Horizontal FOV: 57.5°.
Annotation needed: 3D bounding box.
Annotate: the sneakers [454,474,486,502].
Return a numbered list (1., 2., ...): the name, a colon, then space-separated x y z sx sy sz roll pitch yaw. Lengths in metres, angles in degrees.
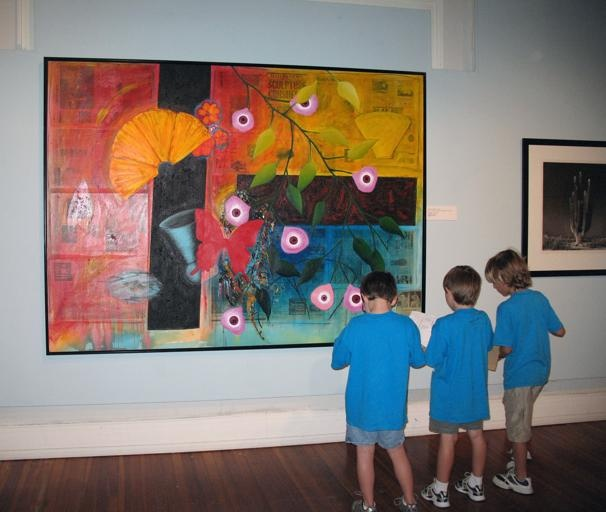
1. sneakers: 0.990 1.345 3.304 0.087 0.137 0.220 -2 14 -20

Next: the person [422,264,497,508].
1. person: 0.910 0.755 3.224 0.381 1.345 0.408 3 11 15

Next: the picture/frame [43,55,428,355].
1. picture/frame: -0.579 -0.331 3.712 1.809 1.506 0.029 0 3 -9

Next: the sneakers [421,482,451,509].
1. sneakers: 0.774 1.380 3.259 0.075 0.111 0.219 0 8 -20

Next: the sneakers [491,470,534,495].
1. sneakers: 1.274 1.364 3.375 0.254 0.132 0.097 6 8 45
